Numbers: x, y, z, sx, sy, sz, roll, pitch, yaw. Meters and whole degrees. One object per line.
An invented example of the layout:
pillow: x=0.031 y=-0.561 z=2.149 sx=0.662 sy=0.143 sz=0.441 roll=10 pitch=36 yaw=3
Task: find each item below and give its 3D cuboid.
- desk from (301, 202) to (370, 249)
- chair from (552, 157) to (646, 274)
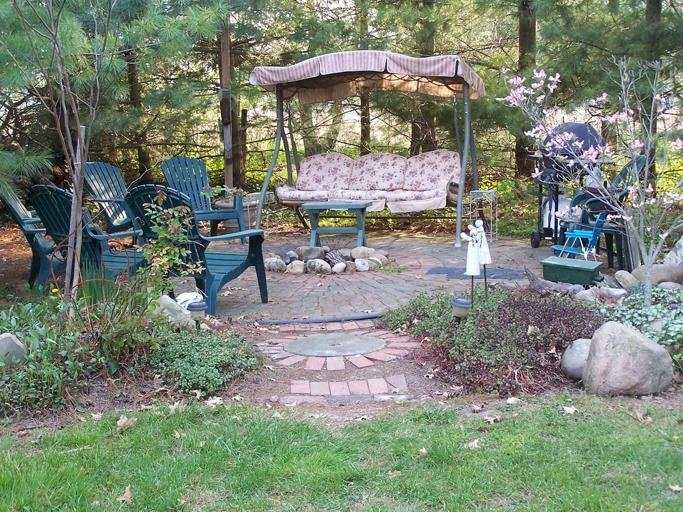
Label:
desk: x=-0.031 y=-0.537 z=9.495 sx=0.914 sy=0.800 sz=2.423 roll=0 pitch=11 yaw=2
chair: x=2.862 y=-0.444 z=6.849 sx=0.841 sy=1.322 sz=1.618 roll=4 pitch=12 yaw=20
